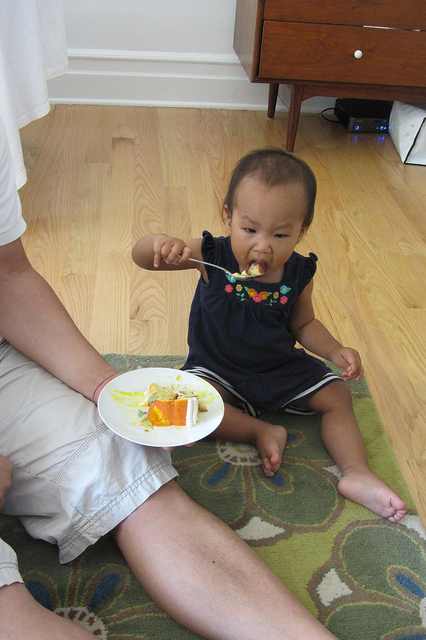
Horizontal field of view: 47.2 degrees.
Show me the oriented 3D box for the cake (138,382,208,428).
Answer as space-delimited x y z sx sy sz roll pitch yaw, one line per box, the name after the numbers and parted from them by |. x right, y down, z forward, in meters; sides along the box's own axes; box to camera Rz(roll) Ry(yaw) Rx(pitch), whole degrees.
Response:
-0.060 0.121 0.687 0.074 0.027 0.059 16 25 25 | cake

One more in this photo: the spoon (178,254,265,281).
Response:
0.023 -0.105 0.960 0.170 0.029 0.034 10 55 -3 | spoon
